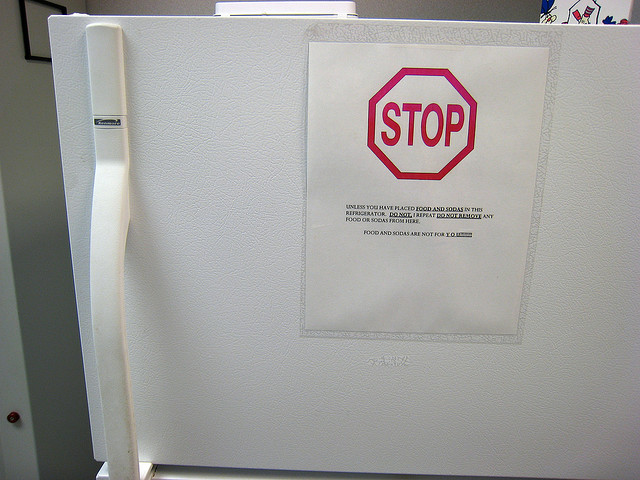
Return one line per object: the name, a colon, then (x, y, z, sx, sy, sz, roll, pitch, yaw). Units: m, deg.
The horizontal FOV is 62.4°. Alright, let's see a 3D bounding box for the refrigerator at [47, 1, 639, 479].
refrigerator: (0.082, -0.008, 1.315, 1.409, 0.831, 0.862, 0, -81, 0)
